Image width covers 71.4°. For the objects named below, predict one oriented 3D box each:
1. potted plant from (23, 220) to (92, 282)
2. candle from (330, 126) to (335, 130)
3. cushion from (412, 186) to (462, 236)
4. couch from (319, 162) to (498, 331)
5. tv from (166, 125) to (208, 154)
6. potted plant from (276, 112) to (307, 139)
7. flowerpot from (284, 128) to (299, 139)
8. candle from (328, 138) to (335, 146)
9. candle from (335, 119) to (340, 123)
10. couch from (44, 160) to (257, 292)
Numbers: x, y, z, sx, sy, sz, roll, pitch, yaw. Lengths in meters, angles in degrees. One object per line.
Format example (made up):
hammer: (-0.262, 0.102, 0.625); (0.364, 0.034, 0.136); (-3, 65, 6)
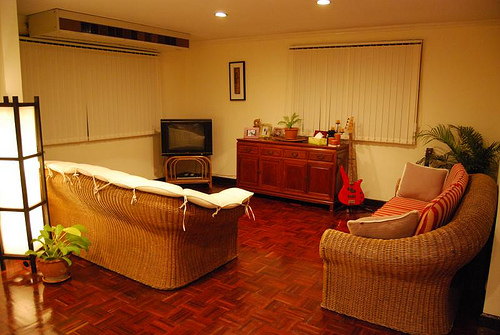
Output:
potted plant: (-2.062, 0.866, 3.838); (0.622, 0.469, 0.636); (1, 5, 1)
candle: (1.362, -0.653, 5.773); (0.044, 0.047, 0.049); (-2, 9, -25)
cushion: (1.687, 0.386, 3.099); (0.311, 0.367, 0.564); (7, 12, 26)
couch: (1.823, 0.695, 3.704); (1.208, 1.178, 2.372); (7, 13, 37)
tv: (-1.204, -0.519, 6.539); (0.868, 0.568, 0.467); (-2, 1, -15)
potted plant: (0.682, -0.710, 6.004); (0.396, 0.288, 0.403); (0, 2, 45)
flowerpot: (0.693, -0.582, 5.955); (0.182, 0.132, 0.185); (2, 11, 8)
candle: (1.301, -0.408, 5.647); (0.110, 0.128, 0.112); (7, 16, 24)
candle: (1.434, -0.758, 5.719); (0.066, 0.076, 0.066); (-1, 1, -34)
couch: (-1.144, 0.582, 3.783); (2.121, 1.209, 0.712); (2, 11, 17)
